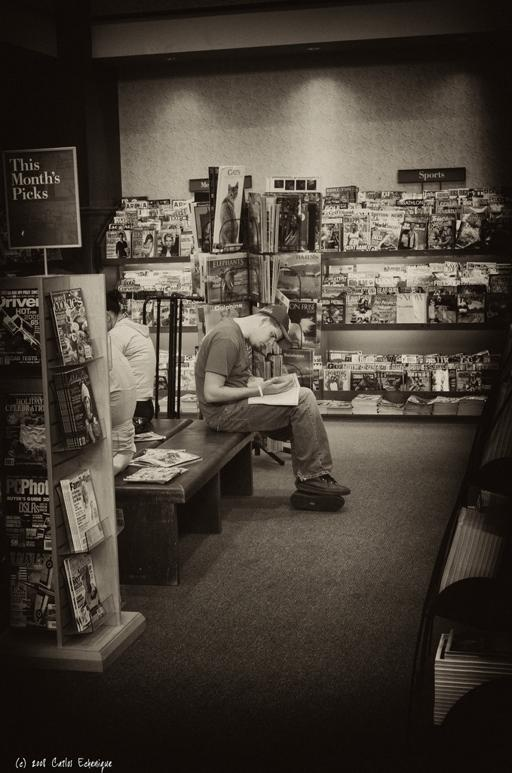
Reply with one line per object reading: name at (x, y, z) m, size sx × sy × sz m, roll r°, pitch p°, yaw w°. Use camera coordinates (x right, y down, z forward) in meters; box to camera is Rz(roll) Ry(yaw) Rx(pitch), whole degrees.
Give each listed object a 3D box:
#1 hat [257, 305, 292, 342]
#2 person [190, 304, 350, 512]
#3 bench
hat at (0.126, -0.390, 3.591) m, size 0.133 × 0.242 × 0.088 m, roll 13°, pitch -27°, yaw -39°
person at (0.095, 0.165, 3.616) m, size 0.748 × 1.398 × 0.571 m, roll -6°, pitch -25°, yaw 8°
bench at (-0.307, 0.519, 3.099) m, size 0.375 × 0.460 × 1.362 m, roll 0°, pitch 6°, yaw 10°
